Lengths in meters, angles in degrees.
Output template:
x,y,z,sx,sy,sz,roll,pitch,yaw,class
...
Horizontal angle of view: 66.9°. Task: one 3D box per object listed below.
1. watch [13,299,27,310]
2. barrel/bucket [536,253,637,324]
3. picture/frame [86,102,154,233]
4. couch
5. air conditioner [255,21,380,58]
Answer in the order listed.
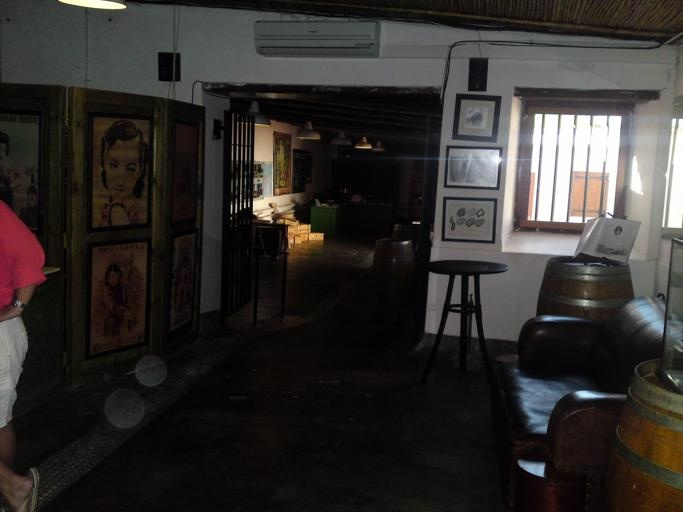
x,y,z,sx,sy,sz,roll,pitch,yaw,class
-1.773,0.267,2.865,0.033,0.054,0.079,7,14,11,watch
2.115,0.207,4.526,0.576,0.588,0.602,6,1,0,barrel/bucket
-1.924,-0.720,4.524,0.119,0.951,0.582,14,16,37,picture/frame
1.495,0.747,3.245,0.983,0.956,1.447,1,8,15,couch
-0.231,-2.229,5.468,0.772,0.193,0.560,3,14,4,air conditioner
